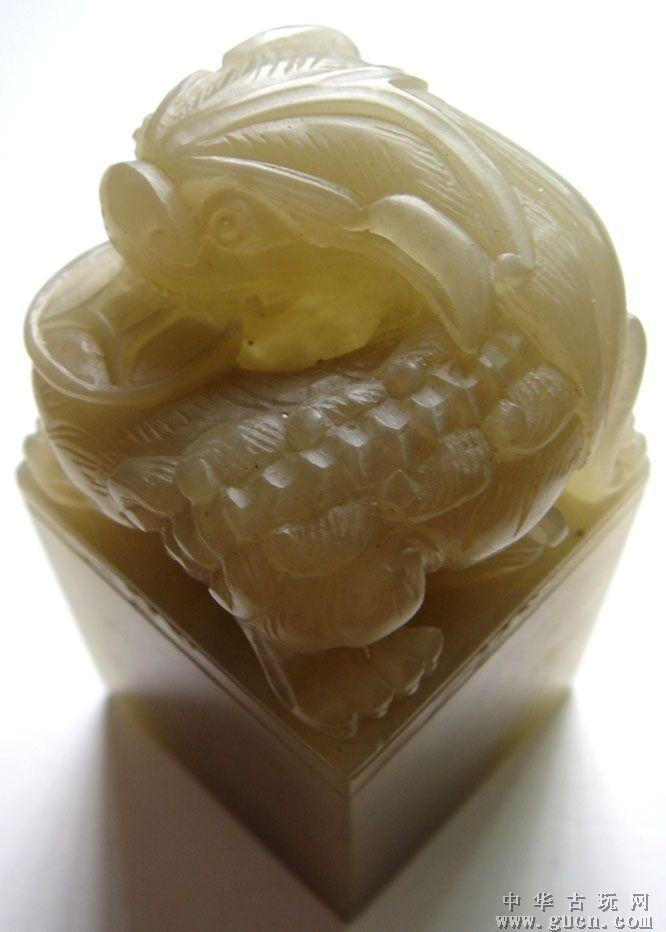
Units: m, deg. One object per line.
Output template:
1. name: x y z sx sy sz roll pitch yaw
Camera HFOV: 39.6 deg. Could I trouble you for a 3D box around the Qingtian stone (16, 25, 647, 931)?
1. Qingtian stone: -0.022 -0.004 0.907 0.580 0.740 0.482 -29 41 -29
